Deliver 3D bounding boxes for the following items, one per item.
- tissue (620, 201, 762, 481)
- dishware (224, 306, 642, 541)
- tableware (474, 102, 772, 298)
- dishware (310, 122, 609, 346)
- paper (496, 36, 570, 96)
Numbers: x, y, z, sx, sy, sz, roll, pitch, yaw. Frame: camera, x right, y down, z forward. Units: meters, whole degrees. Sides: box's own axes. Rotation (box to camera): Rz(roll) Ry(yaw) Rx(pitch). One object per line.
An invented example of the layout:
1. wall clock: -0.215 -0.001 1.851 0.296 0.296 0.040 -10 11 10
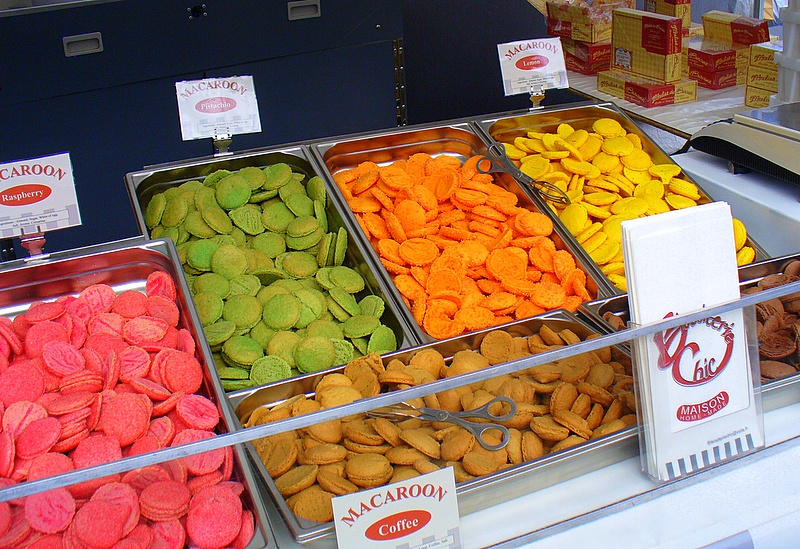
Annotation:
1. tissue: 0.639 0.146 1.296 0.331 0.567 0.166 -17 23 -12
2. dishware: 0.149 0.347 1.415 0.861 0.115 0.443 -14 36 -17
3. tableware: 0.834 -0.406 2.467 0.671 0.140 1.014 -18 53 -22
4. dishware: 0.324 -0.270 2.401 0.780 0.156 1.109 -19 57 -24
5. paper: 0.579 -0.917 2.586 0.342 0.266 0.084 -6 2 -18
